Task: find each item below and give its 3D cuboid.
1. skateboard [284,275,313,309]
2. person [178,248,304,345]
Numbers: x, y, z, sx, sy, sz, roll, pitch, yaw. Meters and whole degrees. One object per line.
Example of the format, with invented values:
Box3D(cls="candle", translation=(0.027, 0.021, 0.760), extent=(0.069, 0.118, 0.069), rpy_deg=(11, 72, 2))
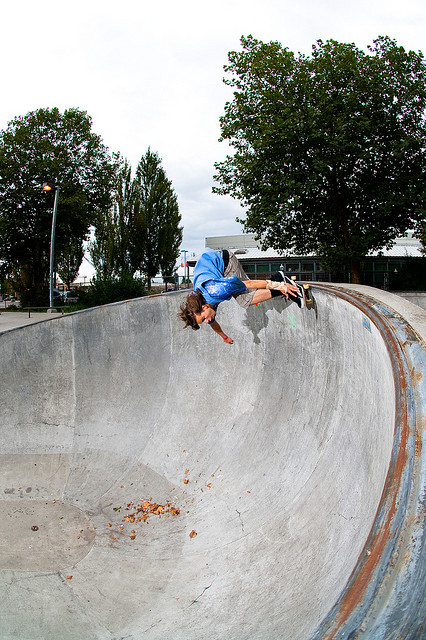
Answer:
Box3D(cls="skateboard", translation=(0.784, -0.240, 4.843), extent=(0.129, 0.189, 0.421), rpy_deg=(-22, 18, 5))
Box3D(cls="person", translation=(0.197, -0.322, 4.863), extent=(1.082, 0.643, 0.613), rpy_deg=(-5, 13, -5))
